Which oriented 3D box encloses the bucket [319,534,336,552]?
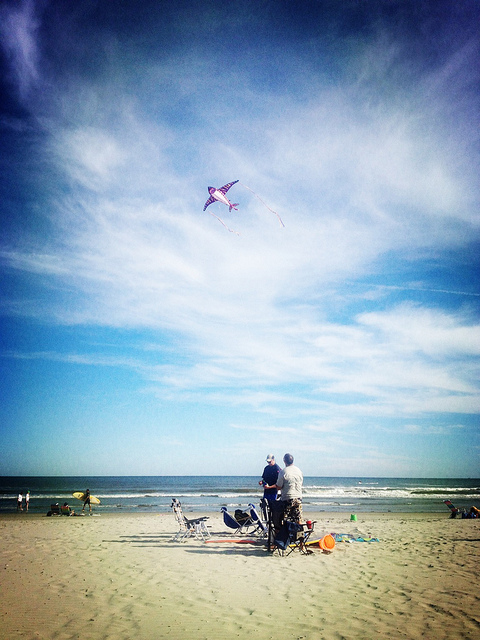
[{"bbox_3d":[1.707,4.321,10.107,0.217,0.314,0.266,8,-4,-18],"label":"bucket"}]

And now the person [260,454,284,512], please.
[{"bbox_3d":[0.591,3.296,10.013,0.495,1.358,0.420,-5,-13,25],"label":"person"}]

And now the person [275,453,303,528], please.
[{"bbox_3d":[0.869,3.049,9.200,0.442,1.292,0.574,-1,-10,5],"label":"person"}]
